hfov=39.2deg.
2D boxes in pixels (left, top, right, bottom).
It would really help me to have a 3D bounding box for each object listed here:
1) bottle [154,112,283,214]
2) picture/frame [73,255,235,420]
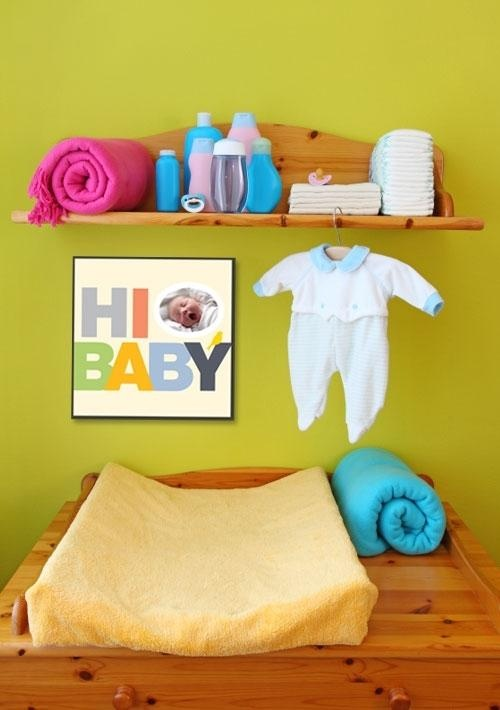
[{"bbox_3d":[-0.082,-0.495,1.846,0.354,0.264,0.323,-1,22,0],"label":"bottle"},{"bbox_3d":[-0.287,-0.074,2.045,0.570,0.472,0.017,1,2,-1],"label":"picture/frame"}]
